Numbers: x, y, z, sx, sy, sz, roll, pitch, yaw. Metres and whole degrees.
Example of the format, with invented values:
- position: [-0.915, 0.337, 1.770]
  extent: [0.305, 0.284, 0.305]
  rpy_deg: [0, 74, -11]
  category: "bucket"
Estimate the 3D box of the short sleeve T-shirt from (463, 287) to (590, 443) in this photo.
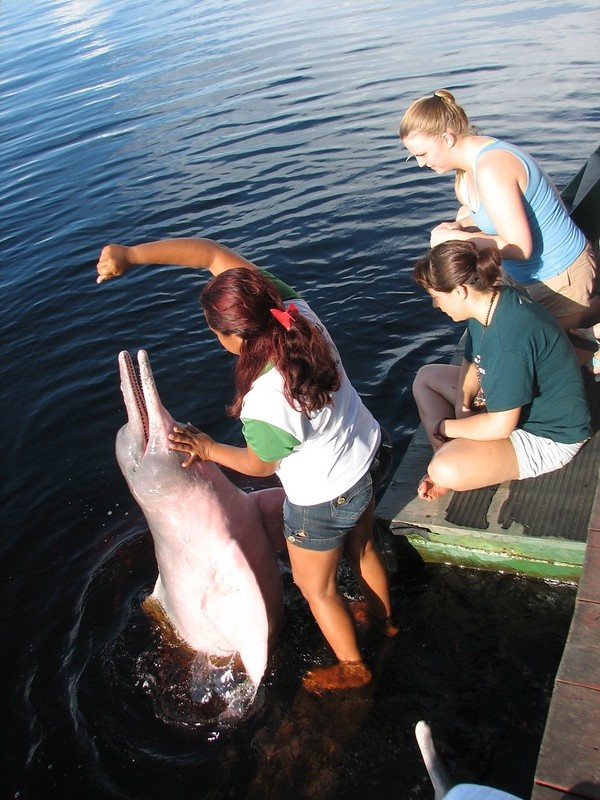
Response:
- position: [1.163, -0.175, 3.750]
  extent: [0.484, 0.686, 0.656]
  rpy_deg: [-13, 52, 17]
  category: "short sleeve T-shirt"

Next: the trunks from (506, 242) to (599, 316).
- position: [1.450, -0.719, 4.183]
  extent: [0.334, 0.325, 0.464]
  rpy_deg: [-41, 3, -27]
  category: "trunks"

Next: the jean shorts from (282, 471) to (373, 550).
- position: [0.082, 0.494, 3.577]
  extent: [0.437, 0.356, 0.554]
  rpy_deg: [4, 21, 6]
  category: "jean shorts"

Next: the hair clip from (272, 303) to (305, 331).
- position: [-0.048, -0.344, 2.879]
  extent: [0.074, 0.098, 0.138]
  rpy_deg: [-31, 3, 34]
  category: "hair clip"

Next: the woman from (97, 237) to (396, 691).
- position: [-0.274, 0.332, 3.722]
  extent: [1.580, 2.106, 0.814]
  rpy_deg: [19, 33, 30]
  category: "woman"

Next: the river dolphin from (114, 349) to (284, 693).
- position: [-0.579, 0.789, 4.055]
  extent: [0.861, 1.922, 1.436]
  rpy_deg: [-11, 28, -7]
  category: "river dolphin"
